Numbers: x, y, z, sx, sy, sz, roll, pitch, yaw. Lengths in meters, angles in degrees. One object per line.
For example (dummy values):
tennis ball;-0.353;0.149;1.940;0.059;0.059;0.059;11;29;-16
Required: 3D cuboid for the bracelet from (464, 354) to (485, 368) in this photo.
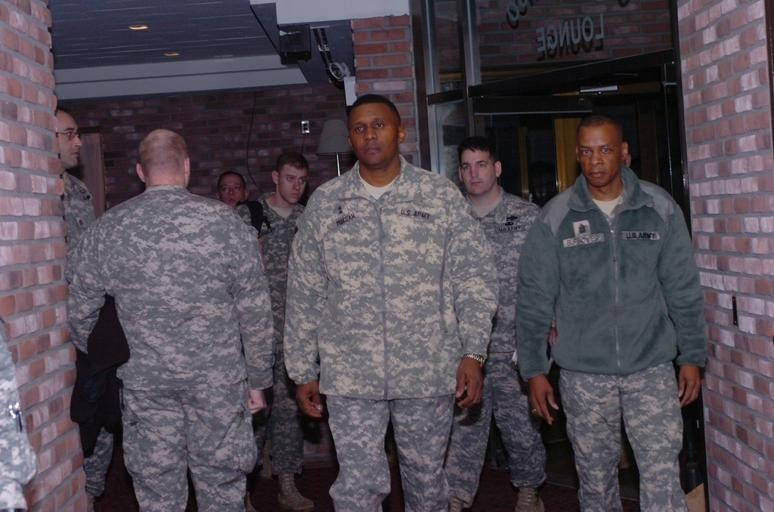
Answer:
bracelet;0.410;0.481;3.036;0.078;0.026;0.067;13;-12;35
